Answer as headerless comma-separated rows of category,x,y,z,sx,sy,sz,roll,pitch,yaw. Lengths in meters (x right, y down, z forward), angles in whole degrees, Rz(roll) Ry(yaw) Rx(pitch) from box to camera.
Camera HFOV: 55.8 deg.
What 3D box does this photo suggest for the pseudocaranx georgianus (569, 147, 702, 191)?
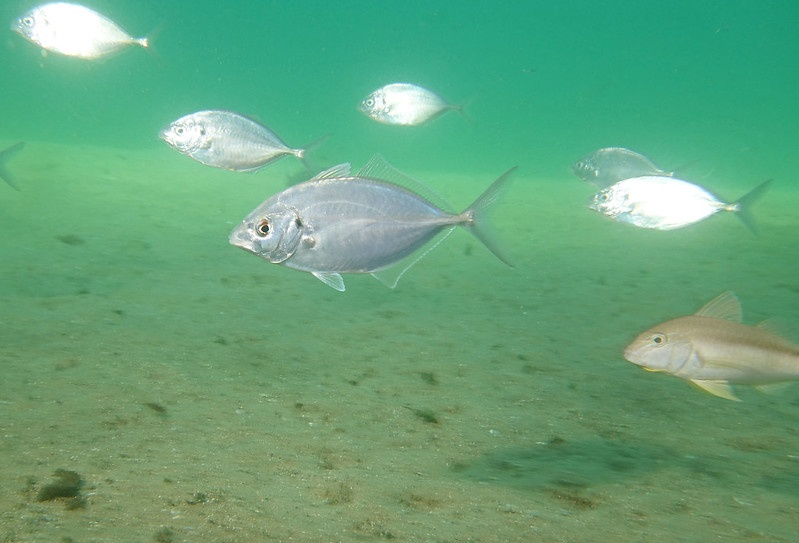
pseudocaranx georgianus,2.084,-0.941,7.064,1.125,0.326,0.375,6,-50,46
